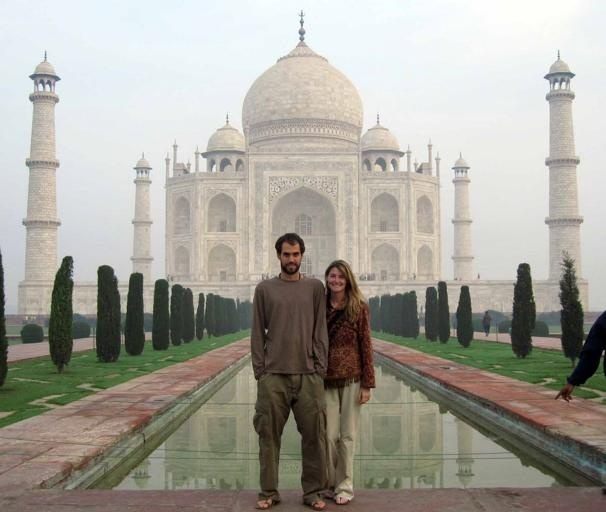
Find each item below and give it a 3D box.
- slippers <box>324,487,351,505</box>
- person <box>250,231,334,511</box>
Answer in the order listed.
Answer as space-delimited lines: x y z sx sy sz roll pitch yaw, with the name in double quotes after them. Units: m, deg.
0.177 1.226 4.163 0.057 0.078 0.180 5 -19 -16 "slippers"
-0.063 0.575 4.168 0.393 1.378 0.209 0 -3 -3 "person"
